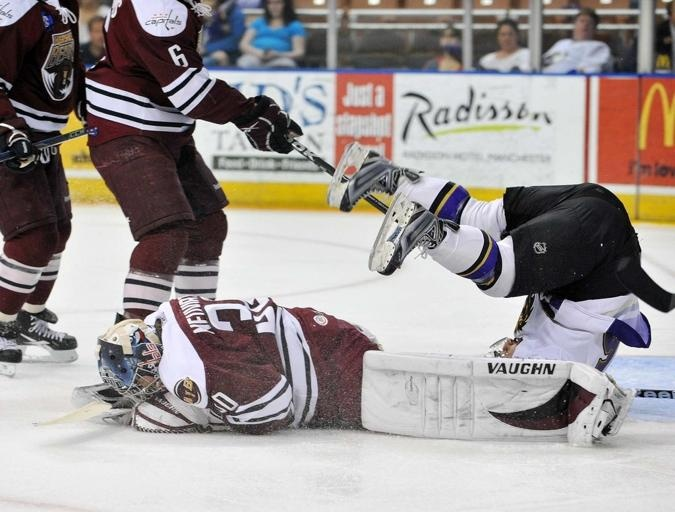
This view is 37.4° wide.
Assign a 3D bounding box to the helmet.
[{"bbox_3d":[-0.756,0.369,3.625,0.235,0.231,0.290,0,4,42],"label":"helmet"}]

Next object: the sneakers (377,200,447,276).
[{"bbox_3d":[0.252,-0.088,3.690,0.136,0.297,0.196,20,-21,20],"label":"sneakers"}]

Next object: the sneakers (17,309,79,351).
[{"bbox_3d":[-1.365,0.359,4.649,0.395,0.197,0.122,0,-6,24],"label":"sneakers"}]

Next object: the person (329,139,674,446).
[{"bbox_3d":[0.628,0.121,3.746,1.266,1.018,0.692,1,13,0],"label":"person"}]

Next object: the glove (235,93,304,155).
[{"bbox_3d":[-0.273,-0.537,4.253,0.294,0.119,0.237,28,-44,-32],"label":"glove"}]

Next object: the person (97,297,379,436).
[{"bbox_3d":[-0.349,0.396,3.542,0.896,0.280,0.513,-1,7,-17],"label":"person"}]
